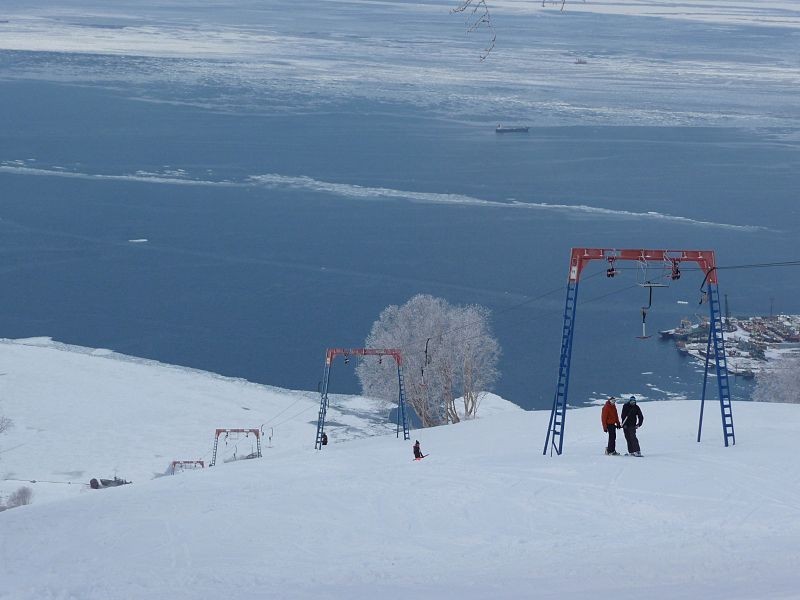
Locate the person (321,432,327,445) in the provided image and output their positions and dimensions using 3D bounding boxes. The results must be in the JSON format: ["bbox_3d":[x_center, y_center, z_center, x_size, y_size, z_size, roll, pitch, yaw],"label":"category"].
[{"bbox_3d":[-7.771,14.135,162.467,1.022,1.227,3.051,-1,-7,-6],"label":"person"}]
